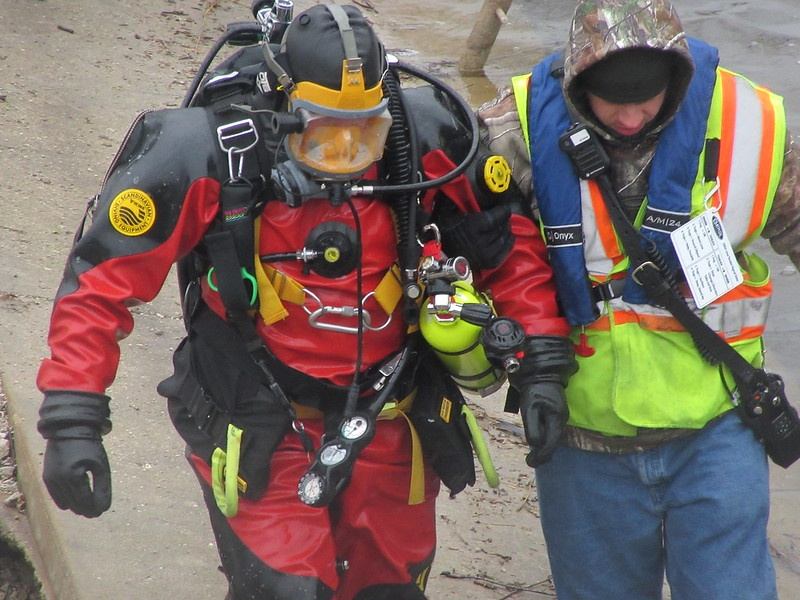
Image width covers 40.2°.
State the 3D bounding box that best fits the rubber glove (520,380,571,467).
[{"bbox_3d":[0.490,0.401,3.690,0.221,0.255,0.090,-2,-4,-23],"label":"rubber glove"}]

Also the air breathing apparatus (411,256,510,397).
[{"bbox_3d":[0.222,0.088,3.832,0.255,0.663,0.357,-14,55,10],"label":"air breathing apparatus"}]

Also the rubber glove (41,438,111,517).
[{"bbox_3d":[-1.019,0.540,3.407,0.198,0.240,0.197,-1,30,-23],"label":"rubber glove"}]
